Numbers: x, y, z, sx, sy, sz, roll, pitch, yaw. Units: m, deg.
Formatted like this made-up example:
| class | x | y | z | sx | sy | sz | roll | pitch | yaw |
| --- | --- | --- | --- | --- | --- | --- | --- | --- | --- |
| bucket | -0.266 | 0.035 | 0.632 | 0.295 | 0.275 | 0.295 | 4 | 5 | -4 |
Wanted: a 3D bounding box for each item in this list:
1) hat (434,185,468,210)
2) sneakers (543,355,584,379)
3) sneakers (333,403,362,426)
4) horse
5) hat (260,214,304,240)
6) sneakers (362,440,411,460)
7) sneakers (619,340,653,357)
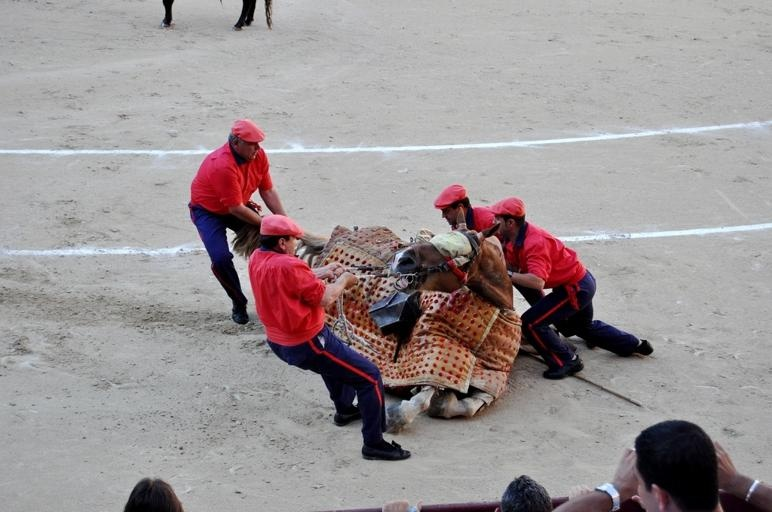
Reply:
| class | x | y | z | sx | sy | sz | roll | pitch | yaw |
| --- | --- | --- | --- | --- | --- | --- | --- | --- | --- |
| hat | 0.873 | -0.798 | 14.622 | 0.519 | 0.174 | 0.320 | -19 | 15 | -10 |
| sneakers | 2.390 | 1.525 | 14.619 | 0.615 | 0.213 | 0.226 | -21 | 40 | -5 |
| sneakers | -0.483 | 2.011 | 13.714 | 0.486 | 0.134 | 0.191 | -14 | 31 | -25 |
| horse | 0.118 | 0.702 | 14.313 | 2.511 | 1.201 | 3.231 | -16 | 40 | -43 |
| hat | -1.259 | -0.358 | 12.967 | 0.530 | 0.155 | 0.297 | -1 | 12 | -11 |
| sneakers | 0.008 | 2.372 | 13.277 | 0.588 | 0.152 | 0.238 | -2 | 11 | 1 |
| sneakers | 3.352 | 1.282 | 14.846 | 0.514 | 0.144 | 0.186 | 0 | 11 | -1 |
